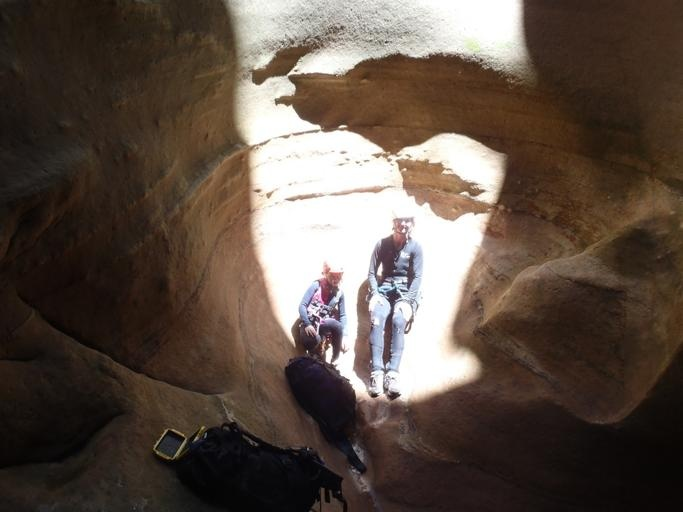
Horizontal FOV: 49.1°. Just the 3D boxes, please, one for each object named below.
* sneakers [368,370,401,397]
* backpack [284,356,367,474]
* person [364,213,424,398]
[{"bbox_3d":[0.301,0.903,5.309,0.146,0.095,0.209,1,27,-2],"label":"sneakers"},{"bbox_3d":[-0.102,1.015,5.175,0.413,0.174,0.787,-12,65,-42],"label":"backpack"},{"bbox_3d":[0.384,0.292,5.623,0.357,0.668,1.403,6,56,2],"label":"person"}]
